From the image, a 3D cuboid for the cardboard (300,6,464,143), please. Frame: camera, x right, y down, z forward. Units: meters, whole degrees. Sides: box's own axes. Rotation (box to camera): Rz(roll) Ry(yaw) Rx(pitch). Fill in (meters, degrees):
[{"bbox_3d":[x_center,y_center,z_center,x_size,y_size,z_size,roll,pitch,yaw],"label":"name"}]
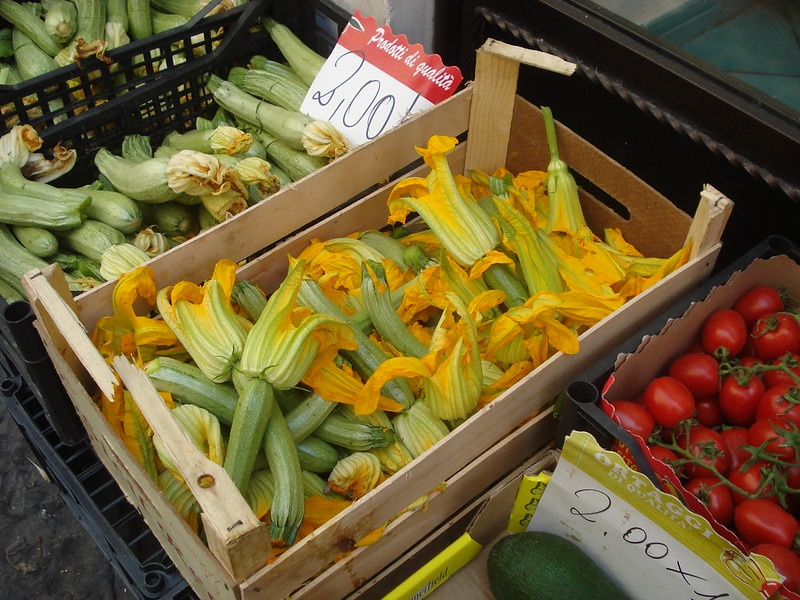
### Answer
[{"bbox_3d":[-0.051,-0.879,2.517,0.541,0.566,0.029,36,16,12],"label":"cardboard"}]
